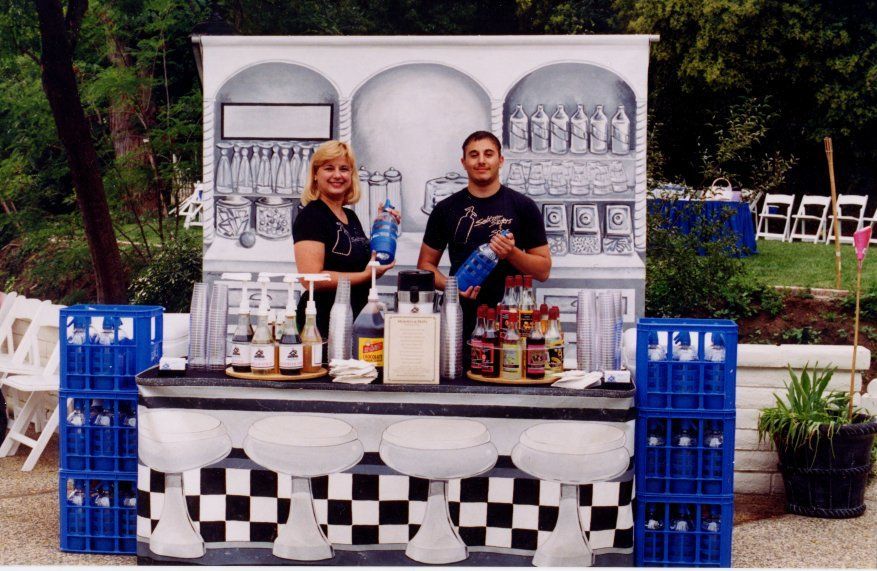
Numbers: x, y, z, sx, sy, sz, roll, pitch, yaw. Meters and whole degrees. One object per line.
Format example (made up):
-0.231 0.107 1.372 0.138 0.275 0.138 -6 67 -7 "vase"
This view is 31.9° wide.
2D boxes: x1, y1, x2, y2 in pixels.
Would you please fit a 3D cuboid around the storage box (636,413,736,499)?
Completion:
1.922 1.323 12.035 0.688 0.669 0.687 0 -5 3 "storage box"

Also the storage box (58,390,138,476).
-2.780 1.174 12.319 0.653 0.621 0.647 3 -4 -21 "storage box"

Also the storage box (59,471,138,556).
-2.815 1.875 12.622 0.674 0.639 0.671 2 -5 -3 "storage box"

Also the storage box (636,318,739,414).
1.963 0.627 12.171 0.719 0.695 0.715 0 -2 7 "storage box"

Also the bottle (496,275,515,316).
0.530 0.076 12.006 0.144 0.294 0.172 0 1 1 "bottle"

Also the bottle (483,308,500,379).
0.395 0.447 11.958 0.123 0.532 0.090 0 1 2 "bottle"

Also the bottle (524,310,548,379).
0.754 0.463 11.942 0.183 0.537 0.064 0 1 2 "bottle"

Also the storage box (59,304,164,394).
-2.710 0.520 12.538 0.723 0.669 0.719 0 -3 -3 "storage box"

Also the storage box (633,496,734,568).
1.926 1.930 12.082 0.860 0.633 0.535 0 -4 0 "storage box"

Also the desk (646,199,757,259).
2.841 -0.594 16.005 0.700 0.585 1.977 0 1 34 "desk"

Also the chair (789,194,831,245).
4.423 -0.775 18.053 0.475 0.745 0.579 2 0 40 "chair"

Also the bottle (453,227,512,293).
0.371 -0.196 12.604 0.242 0.672 0.239 40 9 -8 "bottle"

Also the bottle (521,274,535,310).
0.691 0.062 12.068 0.108 0.268 0.205 0 1 3 "bottle"

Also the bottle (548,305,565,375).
0.909 0.420 11.998 0.097 0.520 0.171 0 1 35 "bottle"
